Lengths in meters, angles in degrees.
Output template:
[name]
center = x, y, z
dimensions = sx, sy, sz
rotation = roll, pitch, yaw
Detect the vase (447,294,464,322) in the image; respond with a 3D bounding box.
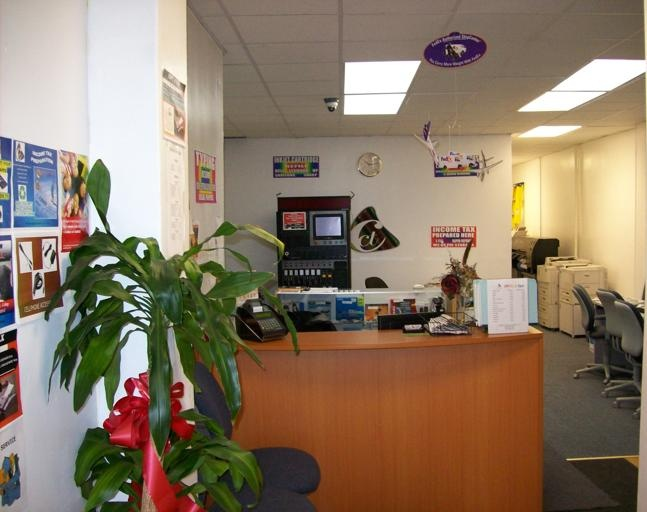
[vase]
center = 0.940, 0.374, 3.623
dimensions = 0.125, 0.247, 0.141
rotation = -2, 4, -6

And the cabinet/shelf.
[cabinet/shelf]
center = 0.306, 0.392, 3.852
dimensions = 0.896, 0.276, 0.351
rotation = 0, -4, 0

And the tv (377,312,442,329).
[tv]
center = 0.606, 0.460, 3.498
dimensions = 0.446, 0.127, 0.126
rotation = 0, 1, 1

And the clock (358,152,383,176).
[clock]
center = 0.697, -1.383, 7.429
dimensions = 0.287, 0.343, 0.046
rotation = 1, 2, 2

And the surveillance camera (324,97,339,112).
[surveillance camera]
center = 0.089, -1.660, 5.437
dimensions = 0.101, 0.111, 0.116
rotation = 0, 12, -9
